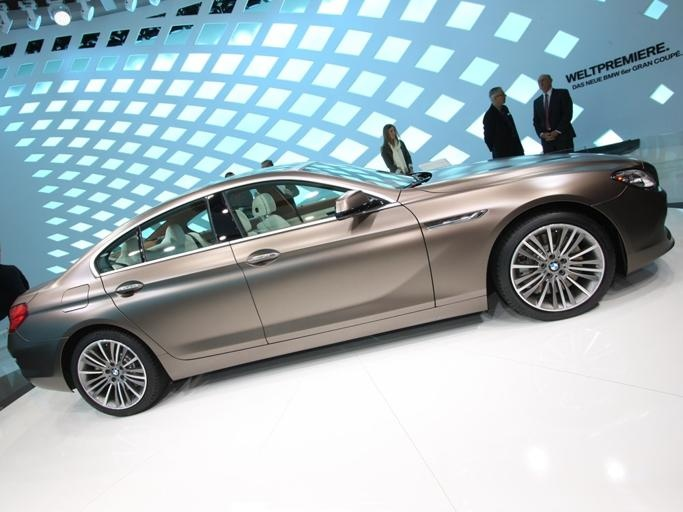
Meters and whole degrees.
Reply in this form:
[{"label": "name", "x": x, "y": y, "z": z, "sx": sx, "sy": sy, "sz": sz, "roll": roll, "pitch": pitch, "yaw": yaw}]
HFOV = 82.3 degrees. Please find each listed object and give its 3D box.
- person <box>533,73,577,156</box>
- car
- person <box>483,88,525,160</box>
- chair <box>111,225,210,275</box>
[{"label": "person", "x": 3.468, "y": -2.356, "z": 6.475, "sx": 0.580, "sy": 1.266, "sz": 0.417, "roll": 0, "pitch": 20, "yaw": 42}, {"label": "car", "x": -0.278, "y": 0.164, "z": 3.702, "sx": 5.428, "sy": 1.384, "sz": 2.170, "roll": -13, "pitch": 9, "yaw": 11}, {"label": "person", "x": 2.634, "y": -2.202, "z": 6.433, "sx": 0.544, "sy": 1.128, "sz": 0.412, "roll": -18, "pitch": 16, "yaw": -16}, {"label": "chair", "x": -1.466, "y": -0.048, "z": 3.246, "sx": 0.790, "sy": 0.276, "sz": 0.174, "roll": -21, "pitch": -3, "yaw": 11}]
